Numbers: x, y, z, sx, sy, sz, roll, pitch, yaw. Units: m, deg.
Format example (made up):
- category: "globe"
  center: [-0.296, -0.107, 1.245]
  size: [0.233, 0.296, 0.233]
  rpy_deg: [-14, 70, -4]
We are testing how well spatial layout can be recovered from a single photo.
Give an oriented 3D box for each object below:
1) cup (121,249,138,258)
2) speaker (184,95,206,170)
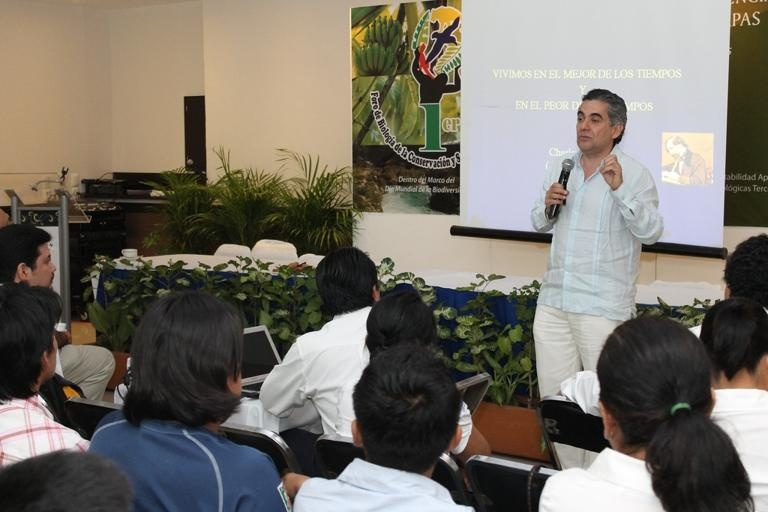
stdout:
- category: "cup"
  center: [-2.182, -0.018, 5.124]
  size: [0.091, 0.088, 0.122]
  rpy_deg: [0, -3, 0]
- category: "speaker"
  center: [-3.008, -1.951, 9.482]
  size: [0.589, 1.211, 0.177]
  rpy_deg: [4, 5, 35]
